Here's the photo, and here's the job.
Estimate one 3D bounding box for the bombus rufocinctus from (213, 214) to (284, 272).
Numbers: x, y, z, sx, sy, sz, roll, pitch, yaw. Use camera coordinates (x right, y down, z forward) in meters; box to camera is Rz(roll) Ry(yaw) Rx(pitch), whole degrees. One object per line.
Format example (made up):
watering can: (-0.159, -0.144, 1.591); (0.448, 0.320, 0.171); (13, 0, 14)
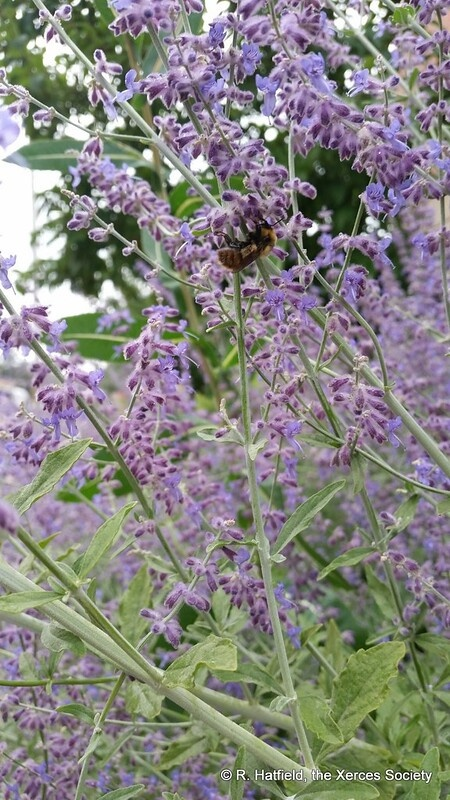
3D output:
bombus rufocinctus: (0.038, -0.229, 1.172); (0.032, 0.066, 0.096); (27, 54, 34)
